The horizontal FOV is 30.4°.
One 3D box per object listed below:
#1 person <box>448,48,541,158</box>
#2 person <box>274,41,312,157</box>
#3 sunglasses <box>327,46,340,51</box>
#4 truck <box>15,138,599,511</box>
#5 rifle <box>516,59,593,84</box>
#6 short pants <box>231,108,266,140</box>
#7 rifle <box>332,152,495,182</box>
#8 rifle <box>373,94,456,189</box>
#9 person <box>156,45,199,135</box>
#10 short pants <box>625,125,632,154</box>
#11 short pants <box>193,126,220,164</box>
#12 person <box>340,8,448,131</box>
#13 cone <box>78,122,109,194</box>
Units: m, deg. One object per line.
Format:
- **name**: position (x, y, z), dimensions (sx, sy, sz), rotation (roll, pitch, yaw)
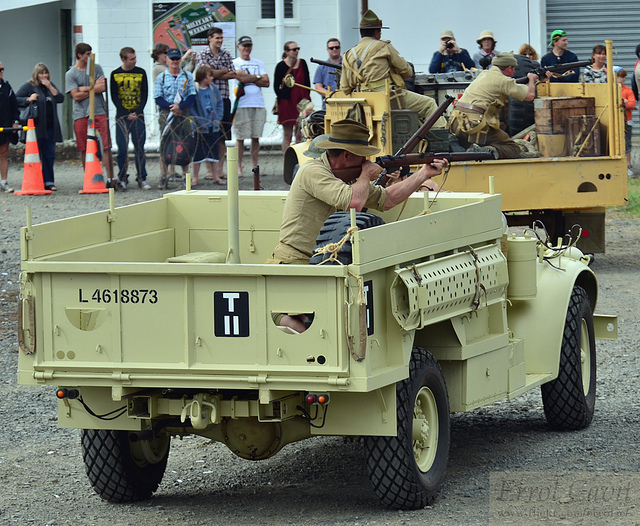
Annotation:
- **person**: position (2.150, -1.906, 14.332), dimensions (1.076, 1.400, 0.813), rotation (-16, 31, -26)
- **person**: position (-0.452, -2.665, 19.476), dimensions (0.560, 2.046, 0.493), rotation (-15, 21, -42)
- **sunglasses**: position (0.218, -3.506, 19.150), dimensions (0.188, 0.070, 0.132), rotation (0, 11, 5)
- **truck**: position (0.158, -0.276, 8.012), dimensions (2.184, 1.897, 3.616), rotation (3, 12, 28)
- **rifle**: position (2.901, -2.419, 14.835), dimensions (1.006, 0.269, 1.011), rotation (-1, 11, 0)
- **short pants**: position (-1.166, -2.421, 19.465), dimensions (0.569, 0.695, 0.388), rotation (-5, 32, -13)
- **rifle**: position (0.728, -0.733, 8.579), dimensions (0.456, 0.147, 1.870), rotation (5, 13, 31)
- **rifle**: position (0.860, -1.169, 11.227), dimensions (0.226, 1.359, 0.225), rotation (33, -10, -25)
- **person**: position (-2.151, -2.608, 17.850), dimensions (0.642, 1.271, 0.695), rotation (-2, 9, -7)
- **short pants**: position (5.392, -2.189, 20.663), dimensions (0.071, 0.436, 0.905), rotation (1, 11, 16)
- **short pants**: position (-1.711, -1.814, 18.332), dimensions (0.290, 0.489, 0.621), rotation (4, 11, 27)
- **person**: position (0.809, -2.183, 13.945), dimensions (1.090, 1.649, 0.910), rotation (-2, -11, -34)
- **cone**: position (-3.500, -1.631, 18.164), dimensions (0.507, 1.110, 0.558), rotation (-2, 2, -13)
